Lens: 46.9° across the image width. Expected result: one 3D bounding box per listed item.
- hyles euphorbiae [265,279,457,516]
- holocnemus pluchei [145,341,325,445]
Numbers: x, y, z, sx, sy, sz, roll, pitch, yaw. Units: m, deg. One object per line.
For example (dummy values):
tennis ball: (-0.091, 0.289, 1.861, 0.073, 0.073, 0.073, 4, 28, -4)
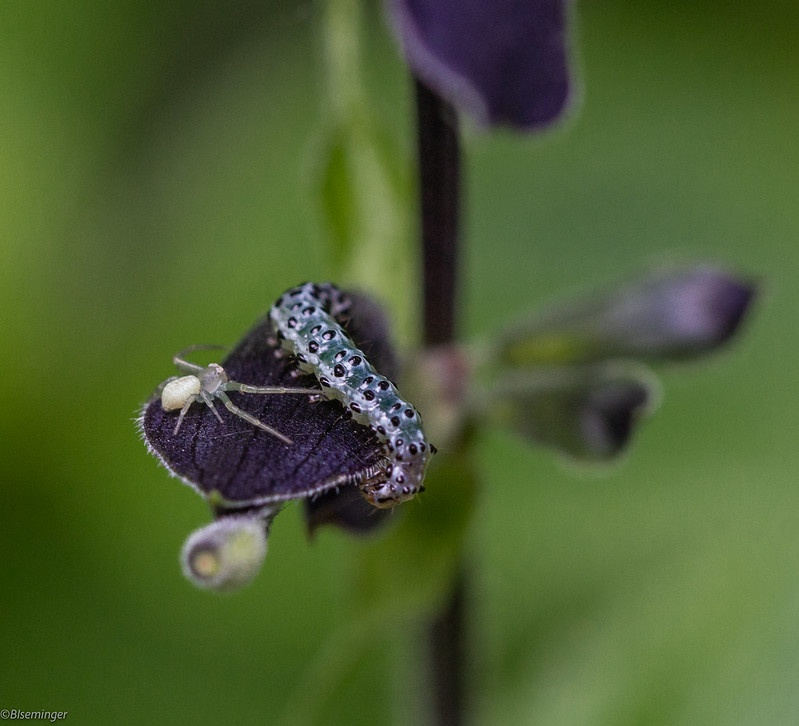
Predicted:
hyles euphorbiae: (-0.073, 0.041, 1.442, 0.121, 0.147, 0.403, -13, 59, -33)
holocnemus pluchei: (-0.259, 0.039, 1.311, 0.173, 0.146, 0.203, -10, 107, -33)
